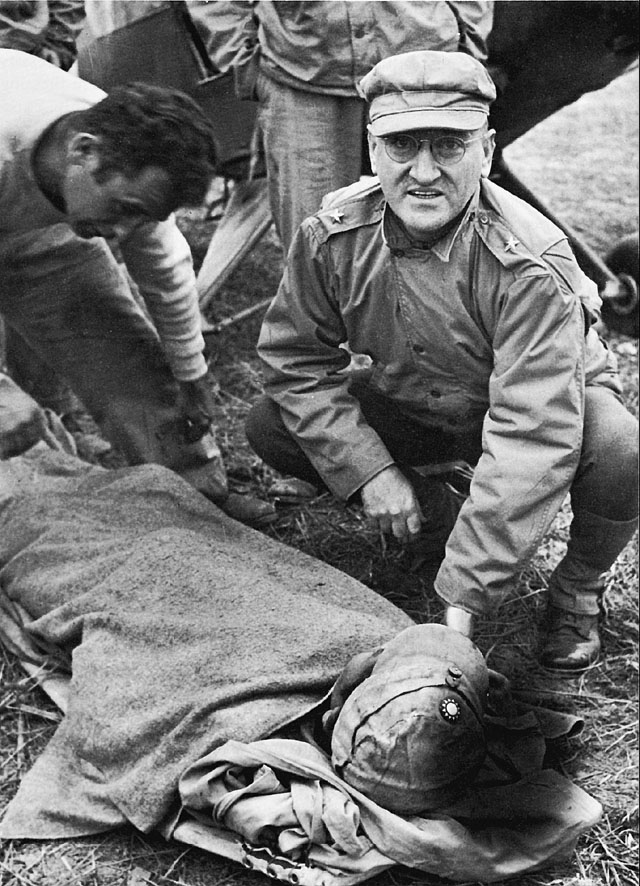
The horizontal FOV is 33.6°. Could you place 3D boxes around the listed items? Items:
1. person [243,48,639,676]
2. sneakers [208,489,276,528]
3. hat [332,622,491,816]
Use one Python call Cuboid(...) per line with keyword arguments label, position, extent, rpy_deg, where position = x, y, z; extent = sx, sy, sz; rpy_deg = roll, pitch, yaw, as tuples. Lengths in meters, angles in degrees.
Cuboid(label="person", position=(0.318, -0.175, 2.673), extent=(0.719, 1.553, 0.932), rpy_deg=(-22, 28, -26))
Cuboid(label="sneakers", position=(-0.250, 0.206, 3.373), extent=(0.179, 0.057, 0.102), rpy_deg=(19, 13, 17))
Cuboid(label="hat", position=(0.175, 0.505, 2.066), extent=(0.252, 0.250, 0.356), rpy_deg=(-50, 10, 15))
